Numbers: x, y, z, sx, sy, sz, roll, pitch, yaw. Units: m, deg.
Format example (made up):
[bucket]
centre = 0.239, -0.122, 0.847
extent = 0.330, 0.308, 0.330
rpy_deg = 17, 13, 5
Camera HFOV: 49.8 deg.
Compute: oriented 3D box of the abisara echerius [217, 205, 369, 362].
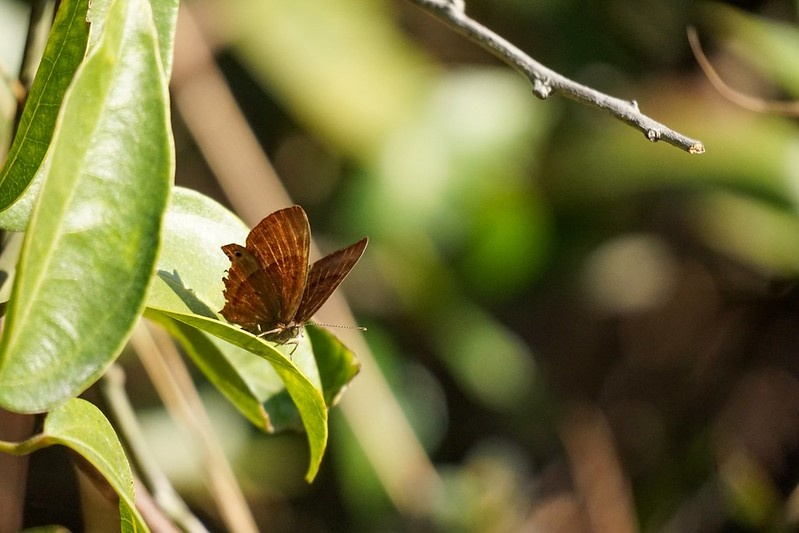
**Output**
[abisara echerius]
centre = -0.224, 0.047, 1.778
extent = 0.297, 0.387, 0.270
rpy_deg = 11, 81, 9
